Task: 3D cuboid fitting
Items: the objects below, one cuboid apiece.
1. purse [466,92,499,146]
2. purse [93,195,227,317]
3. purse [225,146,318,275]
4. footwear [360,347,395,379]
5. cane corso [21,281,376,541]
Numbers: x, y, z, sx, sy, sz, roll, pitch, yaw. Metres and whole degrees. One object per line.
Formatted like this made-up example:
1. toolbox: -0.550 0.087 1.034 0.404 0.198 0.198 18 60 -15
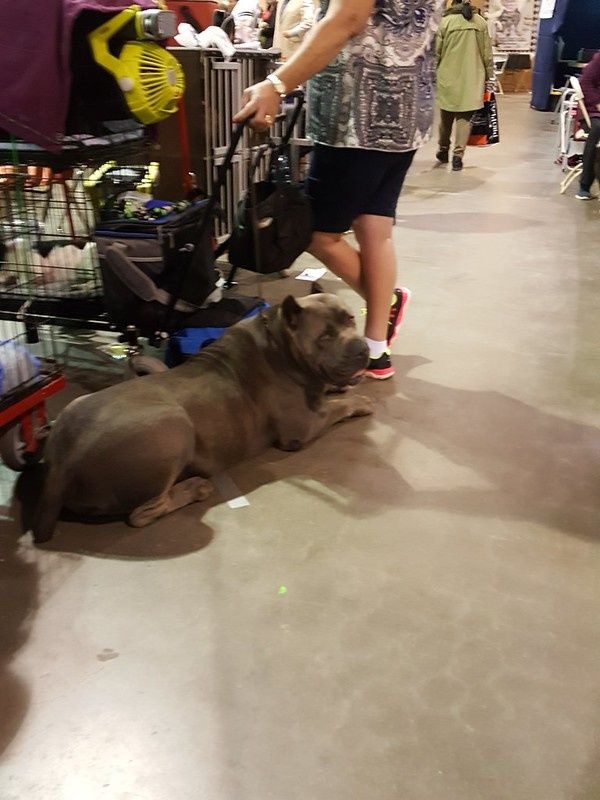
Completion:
1. purse: 2.327 -3.413 8.369 0.459 0.607 0.419 17 29 35
2. purse: -0.589 -0.581 2.922 0.517 0.428 0.417 6 25 24
3. purse: -0.143 -0.843 2.780 0.335 0.545 0.492 1 55 -1
4. footwear: 0.348 -0.161 3.043 0.082 0.078 0.186 -9 19 -6
5. cane corso: -0.315 -0.018 2.346 1.377 0.521 0.538 -27 40 -33
